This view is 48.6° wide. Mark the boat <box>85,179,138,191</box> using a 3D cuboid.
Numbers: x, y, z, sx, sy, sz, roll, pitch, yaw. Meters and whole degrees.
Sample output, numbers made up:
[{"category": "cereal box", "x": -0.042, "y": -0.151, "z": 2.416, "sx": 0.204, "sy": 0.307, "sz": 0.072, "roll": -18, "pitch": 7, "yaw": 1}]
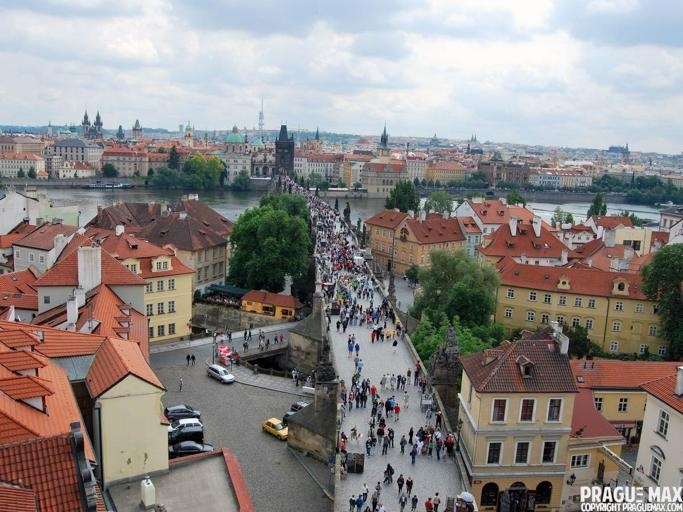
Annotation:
[{"category": "boat", "x": -63.865, "y": -19.941, "z": 209.926, "sx": 10.319, "sy": 2.377, "sz": 19.689, "roll": 4, "pitch": 7, "yaw": 2}]

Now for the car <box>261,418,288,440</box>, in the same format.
[{"category": "car", "x": -4.179, "y": 11.138, "z": 49.206, "sx": 1.642, "sy": 0.774, "sz": 0.917, "roll": 19, "pitch": 26, "yaw": 40}]
